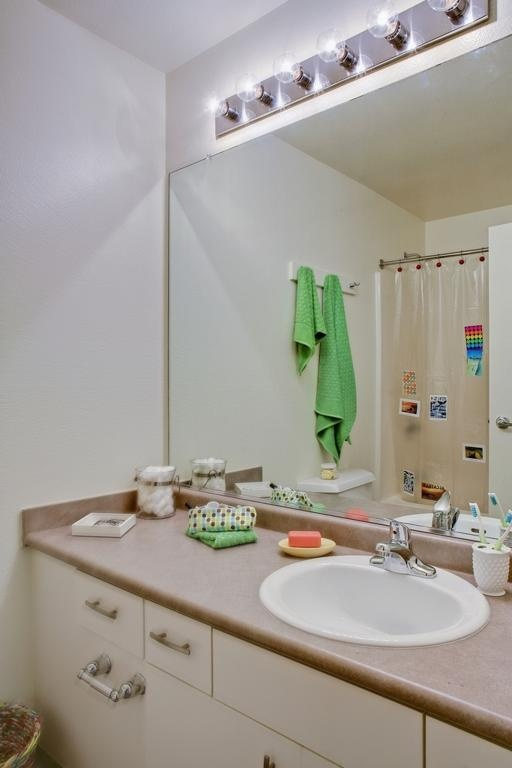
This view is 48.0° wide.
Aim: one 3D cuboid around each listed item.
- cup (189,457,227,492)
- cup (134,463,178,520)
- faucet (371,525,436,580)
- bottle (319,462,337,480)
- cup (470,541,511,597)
[{"bbox_3d":[-0.149,0.279,1.809,0.096,0.105,0.100,1,-8,0],"label":"cup"},{"bbox_3d":[-0.308,0.322,1.763,0.126,0.149,0.132,1,5,0],"label":"cup"},{"bbox_3d":[0.286,0.337,1.183,0.055,0.129,0.166,4,-5,-38],"label":"faucet"},{"bbox_3d":[0.185,0.222,1.476,0.038,0.042,0.038,5,-9,-25],"label":"bottle"},{"bbox_3d":[0.427,0.333,1.050,0.074,0.098,0.079,0,-5,0],"label":"cup"}]
